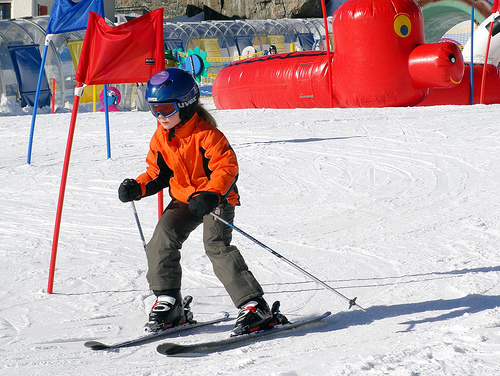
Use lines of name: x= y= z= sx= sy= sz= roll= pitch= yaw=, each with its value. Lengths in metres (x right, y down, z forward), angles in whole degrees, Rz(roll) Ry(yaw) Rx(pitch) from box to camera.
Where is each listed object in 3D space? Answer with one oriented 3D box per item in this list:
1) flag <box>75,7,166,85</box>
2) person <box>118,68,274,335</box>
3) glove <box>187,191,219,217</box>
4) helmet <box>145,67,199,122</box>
flag: x=-1.049 y=-1.156 z=5.046 sx=0.256 sy=0.654 sz=0.827 roll=6 pitch=11 yaw=43
person: x=-0.358 y=0.059 z=4.126 sx=1.062 sy=1.713 sz=0.552 roll=-1 pitch=8 yaw=4
glove: x=-0.286 y=0.093 z=3.897 sx=0.203 sy=0.147 sz=0.095 roll=-2 pitch=8 yaw=-6
helmet: x=-0.475 y=-0.654 z=4.167 sx=0.340 sy=0.295 sz=0.414 roll=8 pitch=32 yaw=27
